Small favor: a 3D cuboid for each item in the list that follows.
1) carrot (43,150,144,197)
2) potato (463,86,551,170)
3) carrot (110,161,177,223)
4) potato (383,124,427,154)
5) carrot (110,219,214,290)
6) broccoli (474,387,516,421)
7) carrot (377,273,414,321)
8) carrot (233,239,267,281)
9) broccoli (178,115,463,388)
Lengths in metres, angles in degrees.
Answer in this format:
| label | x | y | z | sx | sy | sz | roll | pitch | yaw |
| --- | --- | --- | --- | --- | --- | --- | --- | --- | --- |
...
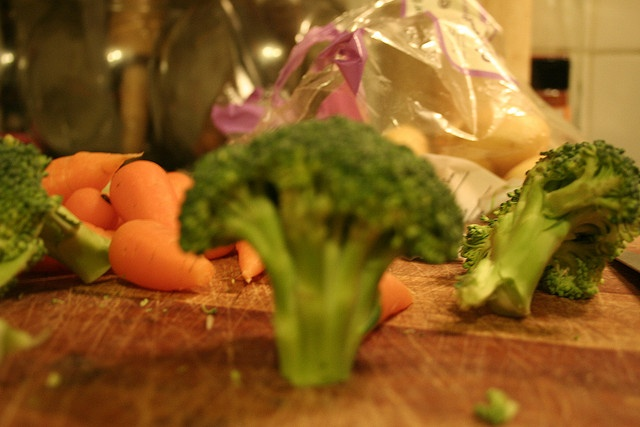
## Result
| label | x | y | z | sx | sy | sz | roll | pitch | yaw |
| --- | --- | --- | --- | --- | --- | --- | --- | --- | --- |
| carrot | -0.797 | -0.155 | 1.925 | 0.365 | 0.141 | 0.171 | -11 | -13 | 2 |
| potato | 0.684 | -0.257 | 2.015 | 0.284 | 0.204 | 0.261 | -31 | 2 | 41 |
| carrot | -0.576 | -0.062 | 1.786 | 0.187 | 0.124 | 0.248 | -2 | 51 | -33 |
| potato | 0.305 | -0.239 | 1.948 | 0.155 | 0.078 | 0.157 | 25 | 3 | -10 |
| carrot | -0.485 | 0.139 | 1.696 | 0.303 | 0.176 | 0.172 | 13 | -2 | 12 |
| broccoli | 0.419 | 0.460 | 1.298 | 0.072 | 0.031 | 0.079 | 16 | 32 | 26 |
| carrot | 0.215 | 0.229 | 1.540 | 0.115 | 0.123 | 0.029 | -12 | 51 | -30 |
| carrot | -0.235 | 0.152 | 1.742 | 0.028 | 0.123 | 0.119 | -26 | -24 | 24 |
| broccoli | -0.010 | 0.123 | 1.492 | 0.617 | 0.577 | 0.657 | 2 | -15 | -3 |
